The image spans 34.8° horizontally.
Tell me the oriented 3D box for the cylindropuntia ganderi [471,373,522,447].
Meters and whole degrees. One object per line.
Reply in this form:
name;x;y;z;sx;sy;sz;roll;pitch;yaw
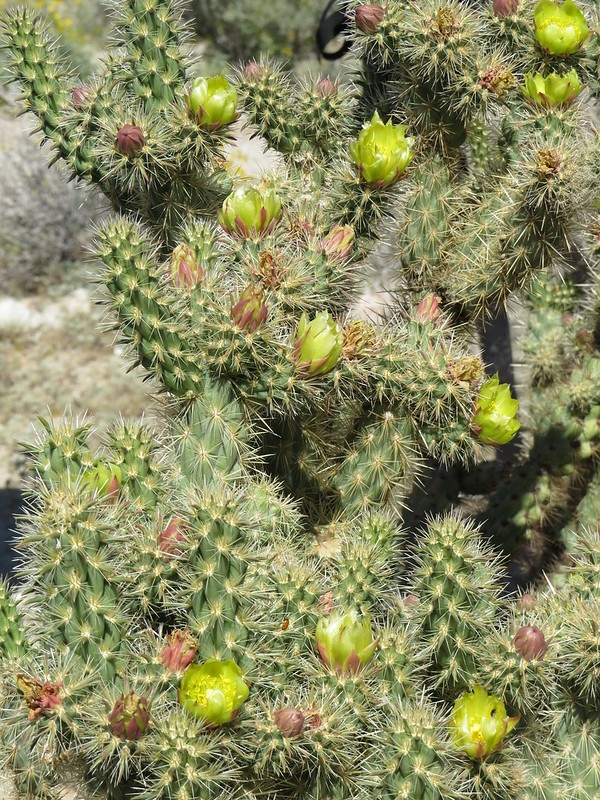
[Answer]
cylindropuntia ganderi;0.308;0.022;1.507;0.107;0.059;0.120;-15;20;13

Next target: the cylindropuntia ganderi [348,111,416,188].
cylindropuntia ganderi;0.141;-0.390;1.547;0.106;0.093;0.093;-16;19;-19

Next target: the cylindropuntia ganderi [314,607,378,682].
cylindropuntia ganderi;0.062;0.329;1.266;0.076;0.077;0.077;5;87;26

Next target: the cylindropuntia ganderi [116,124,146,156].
cylindropuntia ganderi;-0.266;-0.403;1.497;0.045;0.049;0.045;-11;66;-3

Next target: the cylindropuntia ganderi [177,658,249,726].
cylindropuntia ganderi;-0.103;0.351;1.177;0.088;0.074;0.046;-18;102;-18

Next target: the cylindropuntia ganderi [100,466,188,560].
cylindropuntia ganderi;-0.219;0.151;1.356;0.068;0.070;0.177;6;39;-36

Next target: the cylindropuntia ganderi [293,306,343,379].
cylindropuntia ganderi;0.019;-0.078;1.397;0.060;0.056;0.081;15;96;-34

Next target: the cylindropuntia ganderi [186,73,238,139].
cylindropuntia ganderi;-0.138;-0.476;1.544;0.072;0.075;0.062;4;20;-17

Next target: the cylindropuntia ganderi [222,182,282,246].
cylindropuntia ganderi;-0.076;-0.289;1.508;0.081;0.092;0.089;2;77;-6
